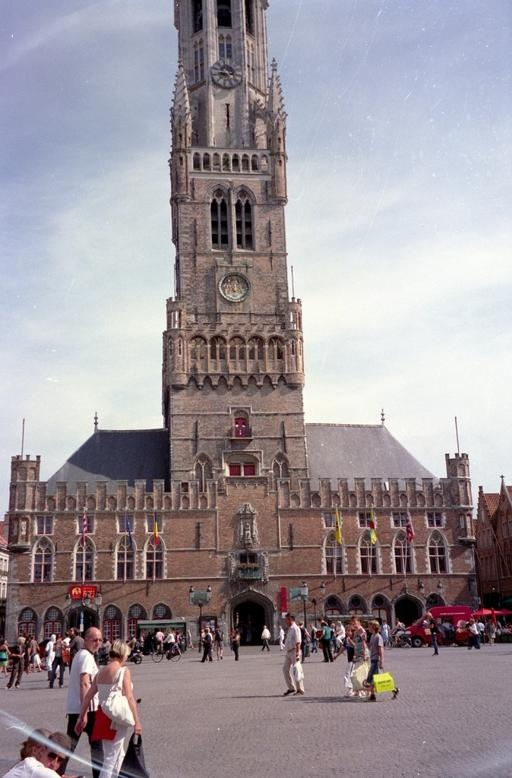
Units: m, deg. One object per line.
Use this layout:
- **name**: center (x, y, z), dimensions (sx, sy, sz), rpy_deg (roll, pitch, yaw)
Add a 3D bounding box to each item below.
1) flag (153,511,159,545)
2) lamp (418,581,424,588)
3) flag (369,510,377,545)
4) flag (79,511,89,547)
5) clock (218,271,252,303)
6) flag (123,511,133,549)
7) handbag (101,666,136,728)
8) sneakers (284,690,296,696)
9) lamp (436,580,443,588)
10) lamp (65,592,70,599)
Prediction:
- **flag**: center (-6.574, 9.147, 48.451), dimensions (0.317, 1.887, 1.194), rpy_deg (-1, -13, -9)
- **lamp**: center (11.189, 13.212, 50.117), dimensions (0.215, 0.584, 0.273), rpy_deg (2, 9, 7)
- **flag**: center (7.929, 9.399, 50.199), dimensions (0.505, 2.122, 1.534), rpy_deg (-5, -13, 8)
- **flag**: center (-11.232, 9.056, 48.354), dimensions (0.492, 2.308, 1.125), rpy_deg (0, -13, -13)
- **clock**: center (-1.763, -7.586, 55.487), dimensions (2.309, 2.128, 2.206), rpy_deg (-1, 6, 20)
- **flag**: center (-8.373, 9.216, 48.636), dimensions (0.438, 2.129, 0.937), rpy_deg (0, -13, -11)
- **handbag**: center (-1.135, 2.563, 6.079), dimensions (0.333, 0.573, 0.261), rpy_deg (8, -32, -21)
- **sneakers**: center (0.636, 6.011, 14.691), dimensions (0.273, 0.114, 0.093), rpy_deg (-9, -18, 40)
- **lamp**: center (12.464, 13.241, 50.352), dimensions (0.257, 0.597, 0.394), rpy_deg (-14, -17, 41)
- **lamp**: center (-12.148, 13.237, 47.600), dimensions (0.474, 0.417, 0.112), rpy_deg (-1, -4, 1)
